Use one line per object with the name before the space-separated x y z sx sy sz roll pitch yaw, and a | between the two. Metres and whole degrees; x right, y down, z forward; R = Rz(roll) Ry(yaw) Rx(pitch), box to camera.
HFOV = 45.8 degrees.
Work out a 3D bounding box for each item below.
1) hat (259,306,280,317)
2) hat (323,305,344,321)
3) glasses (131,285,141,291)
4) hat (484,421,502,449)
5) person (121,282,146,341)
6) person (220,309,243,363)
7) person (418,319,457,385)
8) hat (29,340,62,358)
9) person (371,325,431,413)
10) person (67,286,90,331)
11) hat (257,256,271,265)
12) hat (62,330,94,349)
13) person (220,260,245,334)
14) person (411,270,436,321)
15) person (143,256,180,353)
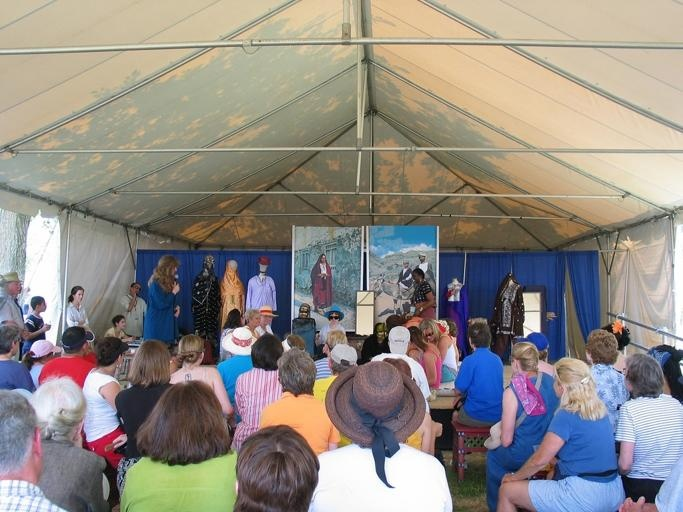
hat | -1.044 0.783 11.706 0.365 0.156 0.406 6 -7 -33
hat | -0.085 0.825 11.889 0.243 0.133 0.271 5 -36 -1
glasses | -3.385 0.509 13.416 0.090 0.032 0.094 12 28 -45
hat | 1.478 1.736 7.874 0.086 0.264 0.157 0 3 1
person | -3.435 1.099 13.592 0.390 1.327 0.435 0 -2 -44
person | -1.437 0.971 10.333 0.213 0.818 0.202 5 40 -22
person | 1.210 1.204 9.968 0.481 0.976 0.429 -8 9 -3
hat | -3.115 0.964 8.587 0.176 0.142 0.266 9 2 23
person | 0.658 1.099 8.398 0.501 0.913 0.873 11 38 17
person | -3.856 0.716 11.844 0.307 0.585 0.702 1 -2 -19
hat | -1.266 0.061 13.421 0.156 0.159 0.506 1 -2 -6
hat | -2.687 0.821 8.286 0.177 0.152 0.269 5 29 5
person | -1.858 0.737 13.911 0.420 1.488 0.266 0 21 -7
person | 1.409 0.601 13.720 0.399 0.826 0.699 1 -1 5
person | -2.497 0.627 11.326 0.477 1.287 0.818 1 -1 -13
